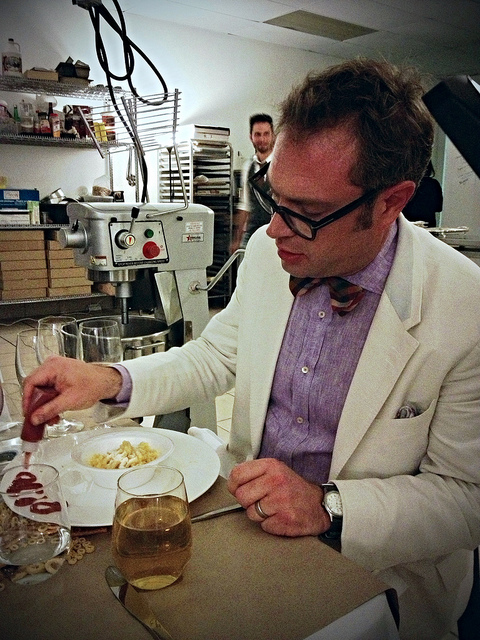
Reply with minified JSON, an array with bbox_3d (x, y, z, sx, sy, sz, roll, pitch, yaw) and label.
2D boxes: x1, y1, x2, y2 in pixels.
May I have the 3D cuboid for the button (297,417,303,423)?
[{"bbox_3d":[0.126,0.215,1.095,0.011,0.011,0.003,9,9,35],"label":"button"}]

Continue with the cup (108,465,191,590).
[{"bbox_3d":[-0.100,0.230,0.577,0.087,0.111,0.086,-1,-7,0],"label":"cup"}]

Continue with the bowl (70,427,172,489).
[{"bbox_3d":[-0.201,0.205,0.841,0.114,0.033,0.127,2,12,28],"label":"bowl"}]

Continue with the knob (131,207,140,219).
[{"bbox_3d":[-0.352,-0.358,1.707,0.025,0.037,0.047,1,10,-12],"label":"knob"}]

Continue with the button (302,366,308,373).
[{"bbox_3d":[0.138,0.105,1.086,0.006,0.013,0.013,-7,14,-44],"label":"button"}]

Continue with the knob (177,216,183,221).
[{"bbox_3d":[-0.223,-0.377,1.890,0.006,0.017,0.028,8,11,24],"label":"knob"}]

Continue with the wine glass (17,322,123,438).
[{"bbox_3d":[-0.336,0.096,1.017,0.222,0.196,0.221,2,7,14],"label":"wine glass"}]
